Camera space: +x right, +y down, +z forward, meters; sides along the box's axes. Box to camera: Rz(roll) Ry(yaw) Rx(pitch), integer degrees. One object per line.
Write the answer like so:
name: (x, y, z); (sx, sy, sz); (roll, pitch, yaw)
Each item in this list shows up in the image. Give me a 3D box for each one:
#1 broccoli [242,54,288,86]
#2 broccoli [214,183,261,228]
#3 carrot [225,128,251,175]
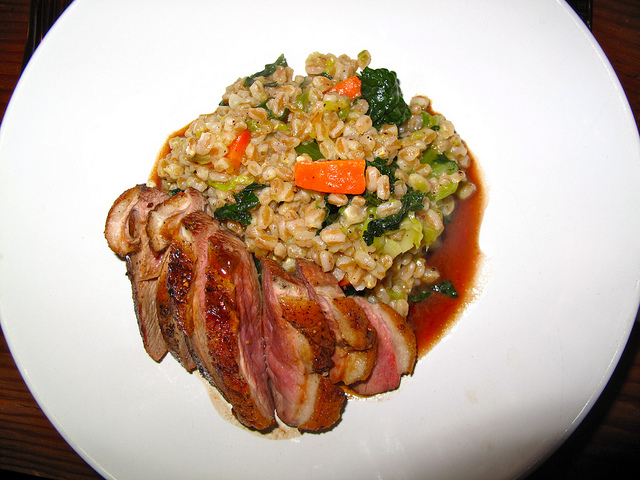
broccoli: (-0.438, -1.378, 4.881); (0.424, 0.076, 0.183); (-37, 49, -6)
broccoli: (-0.619, -0.270, 4.529); (0.287, 0.091, 0.332); (43, 87, 20)
carrot: (-0.622, -0.672, 4.581); (0.148, 0.081, 0.311); (29, 92, 12)
